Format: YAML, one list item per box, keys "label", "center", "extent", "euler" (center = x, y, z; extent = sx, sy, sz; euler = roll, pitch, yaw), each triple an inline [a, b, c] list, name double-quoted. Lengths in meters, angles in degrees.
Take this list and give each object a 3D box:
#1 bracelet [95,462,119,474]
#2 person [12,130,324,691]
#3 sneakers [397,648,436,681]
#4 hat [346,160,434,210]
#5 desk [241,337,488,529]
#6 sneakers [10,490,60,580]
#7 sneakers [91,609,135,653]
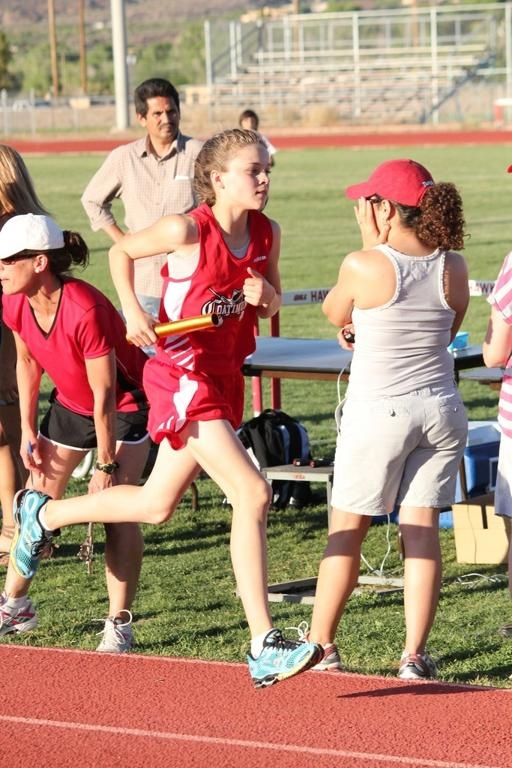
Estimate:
- label: "bracelet"
  center: [-0.497, 0.279, 2.997]
  extent: [0.043, 0.023, 0.050]
  euler: [8, 3, -25]
- label: "person"
  center: [-0.204, 0.036, 2.661]
  extent: [0.548, 1.559, 1.072]
  euler: [2, -5, -28]
- label: "sneakers"
  center: [0.485, 0.847, 2.661]
  extent: [0.071, 0.067, 0.166]
  euler: [2, 2, 23]
- label: "hat"
  center: [0.388, -0.593, 2.633]
  extent: [0.237, 0.106, 0.147]
  euler: [7, 18, 26]
- label: "desk"
  center: [0.416, 0.205, 4.714]
  extent: [1.116, 0.588, 1.001]
  euler: [3, 6, 23]
- label: "sneakers"
  center: [-0.754, 0.509, 3.090]
  extent: [0.172, 0.321, 0.132]
  euler: [7, 7, 20]
- label: "sneakers"
  center: [-0.514, 0.878, 3.124]
  extent: [0.097, 0.089, 0.212]
  euler: [-1, -3, 11]
